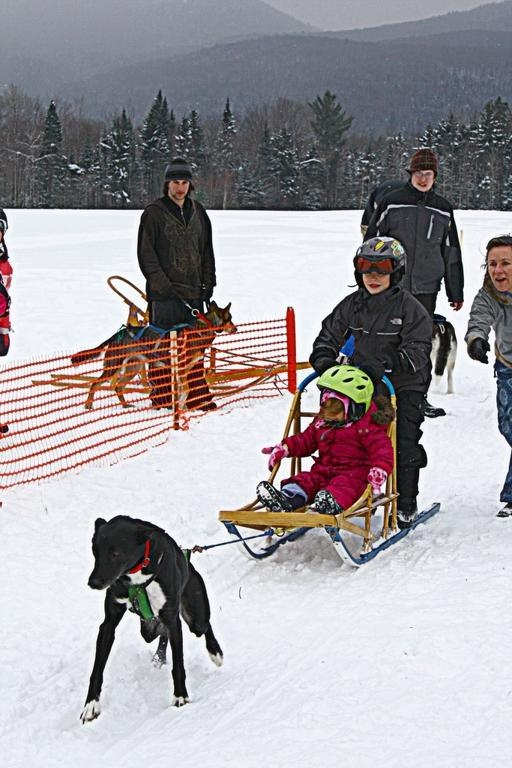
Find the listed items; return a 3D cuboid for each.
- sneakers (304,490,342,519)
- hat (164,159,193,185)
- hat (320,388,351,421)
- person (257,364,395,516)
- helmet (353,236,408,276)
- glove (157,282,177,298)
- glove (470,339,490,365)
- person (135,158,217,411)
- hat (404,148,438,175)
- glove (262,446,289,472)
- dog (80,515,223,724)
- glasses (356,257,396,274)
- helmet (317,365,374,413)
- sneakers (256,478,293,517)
[{"bbox_3d":[0.352,0.602,4.204,0.150,0.130,0.118,1,11,15],"label":"sneakers"},{"bbox_3d":[-0.688,-1.881,7.346,0.233,0.207,0.329,-3,11,-6],"label":"hat"},{"bbox_3d":[0.412,0.125,4.412,0.125,0.167,0.131,10,24,14],"label":"hat"},{"bbox_3d":[0.413,0.299,4.469,0.705,0.709,0.893,4,10,33],"label":"person"},{"bbox_3d":[0.684,-0.711,4.608,0.202,0.152,0.258,7,21,16],"label":"helmet"},{"bbox_3d":[-0.813,-0.850,7.484,0.120,0.137,0.155,-7,-26,24],"label":"glove"},{"bbox_3d":[1.195,-0.168,4.493,0.058,0.104,0.142,-25,13,17],"label":"glove"},{"bbox_3d":[-0.724,-0.848,7.715,0.530,2.344,1.013,5,13,31],"label":"person"},{"bbox_3d":[1.199,-1.597,6.050,0.219,0.191,0.182,2,7,1],"label":"hat"},{"bbox_3d":[0.131,0.420,4.555,0.145,0.056,0.143,-35,30,6],"label":"glove"},{"bbox_3d":[-0.425,0.820,3.067,0.338,0.783,0.678,3,12,23],"label":"dog"},{"bbox_3d":[0.652,-0.648,4.618,0.213,0.095,0.102,1,11,15],"label":"glasses"},{"bbox_3d":[0.488,0.037,4.410,0.211,0.188,0.276,20,4,21],"label":"helmet"},{"bbox_3d":[0.090,0.574,4.246,0.232,0.093,0.108,46,9,12],"label":"sneakers"}]
